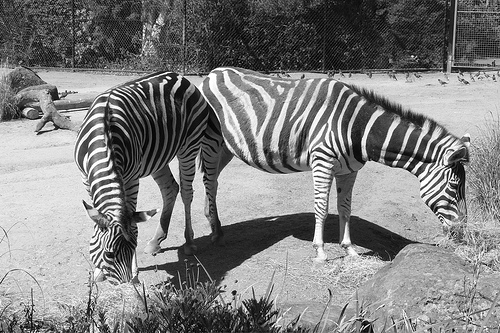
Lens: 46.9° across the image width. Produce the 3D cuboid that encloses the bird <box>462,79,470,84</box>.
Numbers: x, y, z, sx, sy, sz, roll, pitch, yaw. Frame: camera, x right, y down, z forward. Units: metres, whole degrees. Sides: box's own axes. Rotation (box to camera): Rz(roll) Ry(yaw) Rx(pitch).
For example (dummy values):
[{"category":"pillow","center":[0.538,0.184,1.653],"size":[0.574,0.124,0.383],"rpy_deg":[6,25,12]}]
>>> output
[{"category":"bird","center":[6.579,-2.578,17.422],"size":[0.291,0.099,0.118],"rpy_deg":[42,-8,-37]}]

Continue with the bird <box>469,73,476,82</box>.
[{"category":"bird","center":[7.266,-2.858,18.744],"size":[0.068,0.202,0.319],"rpy_deg":[-9,-22,33]}]

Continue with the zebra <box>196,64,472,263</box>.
[{"category":"zebra","center":[0.885,0.081,7.724],"size":[3.694,2.581,1.104],"rpy_deg":[10,11,18]}]

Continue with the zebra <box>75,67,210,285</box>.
[{"category":"zebra","center":[-1.380,0.219,7.333],"size":[1.043,2.578,3.344],"rpy_deg":[-4,9,8]}]
